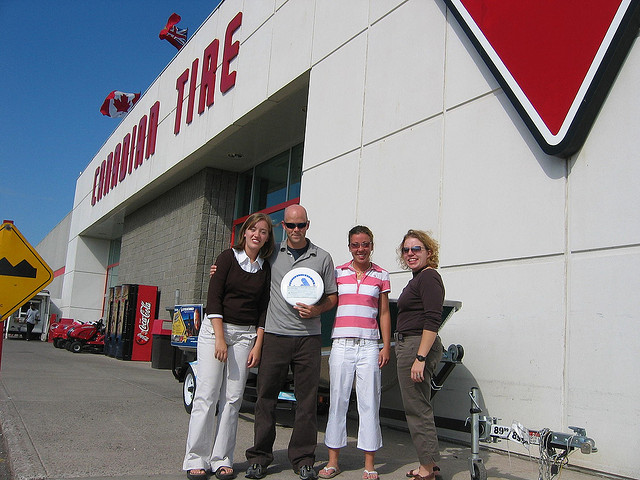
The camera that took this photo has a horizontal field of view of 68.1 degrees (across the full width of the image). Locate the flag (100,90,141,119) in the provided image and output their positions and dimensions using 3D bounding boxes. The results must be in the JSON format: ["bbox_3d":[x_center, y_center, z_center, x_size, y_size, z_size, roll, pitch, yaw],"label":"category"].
[{"bbox_3d":[-9.963,-6.859,23.832,1.813,1.180,1.080,-6,-15,35],"label":"flag"}]

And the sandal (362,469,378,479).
[{"bbox_3d":[0.461,2.139,4.330,0.132,0.078,0.126,2,-13,5],"label":"sandal"}]

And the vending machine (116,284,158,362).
[{"bbox_3d":[-6.166,2.744,16.131,1.008,3.422,1.188,2,0,-39],"label":"vending machine"}]

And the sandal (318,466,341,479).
[{"bbox_3d":[0.112,2.141,4.396,0.106,0.089,0.275,-8,-18,42],"label":"sandal"}]

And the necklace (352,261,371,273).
[{"bbox_3d":[0.413,0.261,4.655,0.179,0.112,0.054,2,-12,8],"label":"necklace"}]

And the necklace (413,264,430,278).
[{"bbox_3d":[0.973,0.289,4.530,0.153,0.148,0.124,0,-12,13],"label":"necklace"}]

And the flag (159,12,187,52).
[{"bbox_3d":[-5.652,-8.387,18.888,1.081,1.375,0.462,30,-13,-16],"label":"flag"}]

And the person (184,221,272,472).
[{"bbox_3d":[-0.797,0.926,4.308,0.634,2.220,0.322,4,-11,-7],"label":"person"}]

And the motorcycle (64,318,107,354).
[{"bbox_3d":[-9.138,3.785,18.721,1.774,1.230,1.033,9,-11,-41],"label":"motorcycle"}]
